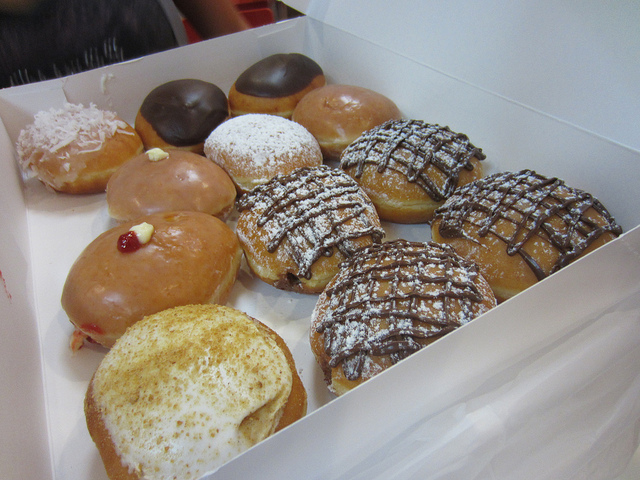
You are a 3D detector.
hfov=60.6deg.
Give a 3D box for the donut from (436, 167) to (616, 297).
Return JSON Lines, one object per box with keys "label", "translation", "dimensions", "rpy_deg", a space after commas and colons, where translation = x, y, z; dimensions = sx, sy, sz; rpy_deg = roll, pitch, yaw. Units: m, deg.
{"label": "donut", "translation": [0.744, -0.036, 1.856], "dimensions": [0.521, 0.155, 0.527], "rpy_deg": [-27, 32, -12]}
